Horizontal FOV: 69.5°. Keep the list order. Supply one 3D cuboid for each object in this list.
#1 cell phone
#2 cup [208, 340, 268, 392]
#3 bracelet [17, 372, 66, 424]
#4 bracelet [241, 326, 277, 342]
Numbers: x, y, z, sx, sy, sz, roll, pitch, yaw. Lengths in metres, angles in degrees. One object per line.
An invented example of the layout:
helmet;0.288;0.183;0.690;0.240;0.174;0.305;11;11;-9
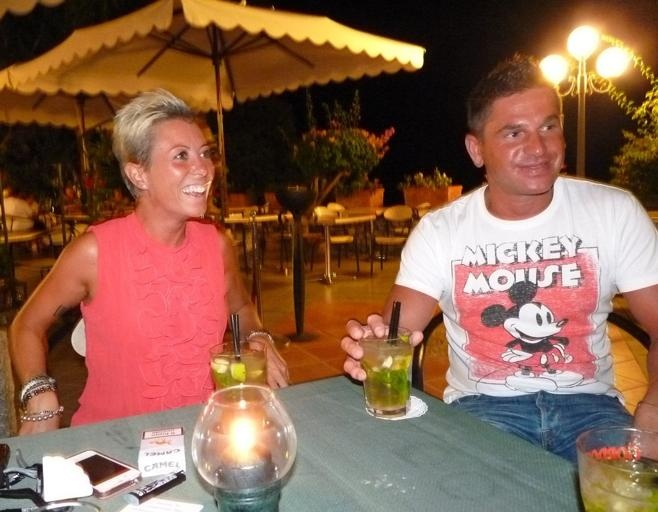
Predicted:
cell phone;-0.540;0.511;1.132;0.173;0.048;0.090;5;11;32
cup;-0.283;0.338;1.474;0.187;0.219;0.198;0;2;0
bracelet;-1.041;0.499;1.700;0.138;0.117;0.162;-2;-1;-5
bracelet;-0.303;0.333;2.035;0.140;0.060;0.118;0;5;10
